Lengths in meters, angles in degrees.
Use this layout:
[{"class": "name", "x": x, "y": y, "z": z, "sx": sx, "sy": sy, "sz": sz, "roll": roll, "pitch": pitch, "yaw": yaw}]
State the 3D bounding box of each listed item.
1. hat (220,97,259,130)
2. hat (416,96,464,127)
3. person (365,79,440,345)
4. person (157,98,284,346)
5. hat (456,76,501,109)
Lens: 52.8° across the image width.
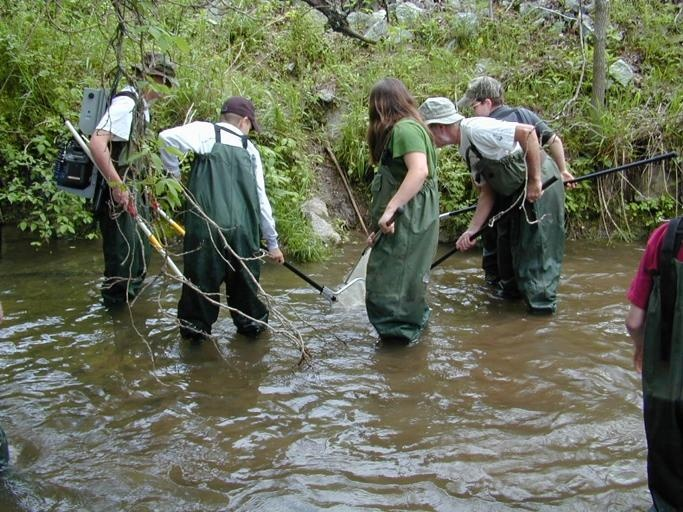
[{"class": "hat", "x": -0.847, "y": -1.274, "z": 6.021, "sx": 0.370, "sy": 0.191, "sz": 0.259, "roll": 20, "pitch": -1, "yaw": -34}, {"class": "hat", "x": 0.882, "y": -1.294, "z": 6.134, "sx": 0.305, "sy": 0.149, "sz": 0.289, "roll": -8, "pitch": 17, "yaw": -22}, {"class": "person", "x": 0.501, "y": -0.369, "z": 5.883, "sx": 0.635, "sy": 2.289, "sz": 0.559, "roll": -1, "pitch": 9, "yaw": 9}, {"class": "person", "x": -0.987, "y": -0.277, "z": 5.761, "sx": 0.953, "sy": 2.111, "sz": 0.674, "roll": -6, "pitch": 10, "yaw": -27}, {"class": "hat", "x": 1.330, "y": -1.609, "z": 6.684, "sx": 0.392, "sy": 0.223, "sz": 0.267, "roll": 0, "pitch": 23, "yaw": 27}]
